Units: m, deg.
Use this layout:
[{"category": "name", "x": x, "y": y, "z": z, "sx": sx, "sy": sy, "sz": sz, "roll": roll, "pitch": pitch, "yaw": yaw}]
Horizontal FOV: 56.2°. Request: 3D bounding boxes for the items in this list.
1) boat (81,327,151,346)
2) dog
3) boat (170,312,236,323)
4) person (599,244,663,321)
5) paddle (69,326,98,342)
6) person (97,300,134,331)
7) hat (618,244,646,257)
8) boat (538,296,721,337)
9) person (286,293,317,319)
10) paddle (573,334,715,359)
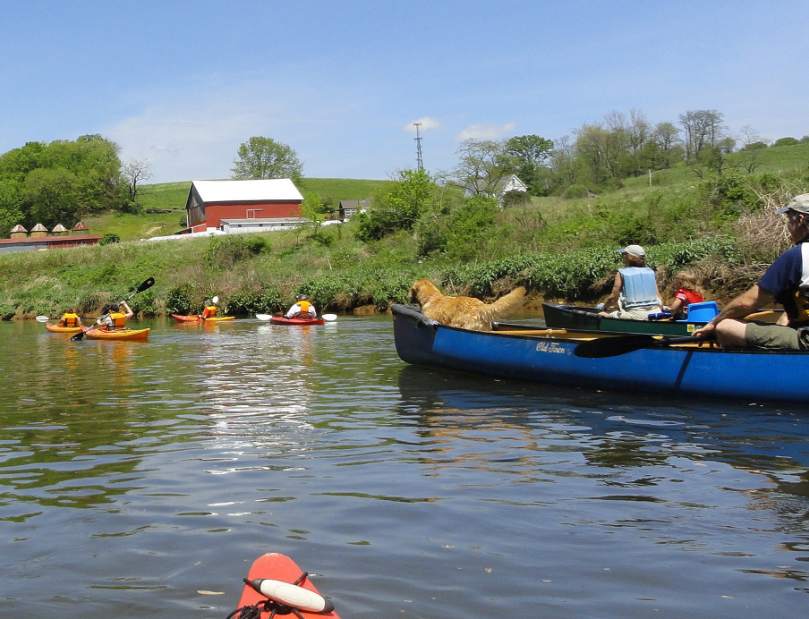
[{"category": "boat", "x": -8.681, "y": 0.744, "z": 22.550, "sx": 3.104, "sy": 0.398, "sz": 0.541, "roll": 2, "pitch": 7, "yaw": 36}, {"category": "dog", "x": 0.951, "y": 0.045, "z": 13.173, "sx": 2.438, "sy": 0.881, "sz": 0.856, "roll": 11, "pitch": 4, "yaw": 41}, {"category": "boat", "x": -8.334, "y": 0.375, "z": 29.510, "sx": 3.143, "sy": 0.309, "sz": 0.868, "roll": 2, "pitch": -1, "yaw": 22}, {"category": "person", "x": 4.138, "y": -0.472, "z": 13.343, "sx": 1.194, "sy": 1.197, "sz": 1.190, "roll": 3, "pitch": 21, "yaw": 29}, {"category": "paddle", "x": -10.115, "y": 0.773, "z": 23.780, "sx": 0.914, "sy": 0.161, "sz": 0.108, "roll": -23, "pitch": 26, "yaw": 14}, {"category": "person", "x": -10.833, "y": 0.218, "z": 28.402, "sx": 1.595, "sy": 0.897, "sz": 2.837, "roll": -8, "pitch": 2, "yaw": -20}, {"category": "hat", "x": 3.869, "y": -0.953, "z": 12.743, "sx": 0.319, "sy": 0.215, "sz": 0.438, "roll": -1, "pitch": 5, "yaw": 10}, {"category": "boat", "x": 3.804, "y": 0.187, "z": 13.786, "sx": 0.765, "sy": 0.395, "sz": 3.267, "roll": 0, "pitch": 0, "yaw": -28}, {"category": "person", "x": -3.695, "y": -0.104, "z": 26.944, "sx": 1.119, "sy": 0.450, "sz": 1.227, "roll": 0, "pitch": 6, "yaw": -10}, {"category": "paddle", "x": 2.941, "y": 0.519, "z": 10.249, "sx": 1.505, "sy": 0.378, "sz": 0.247, "roll": 2, "pitch": 8, "yaw": 39}]
